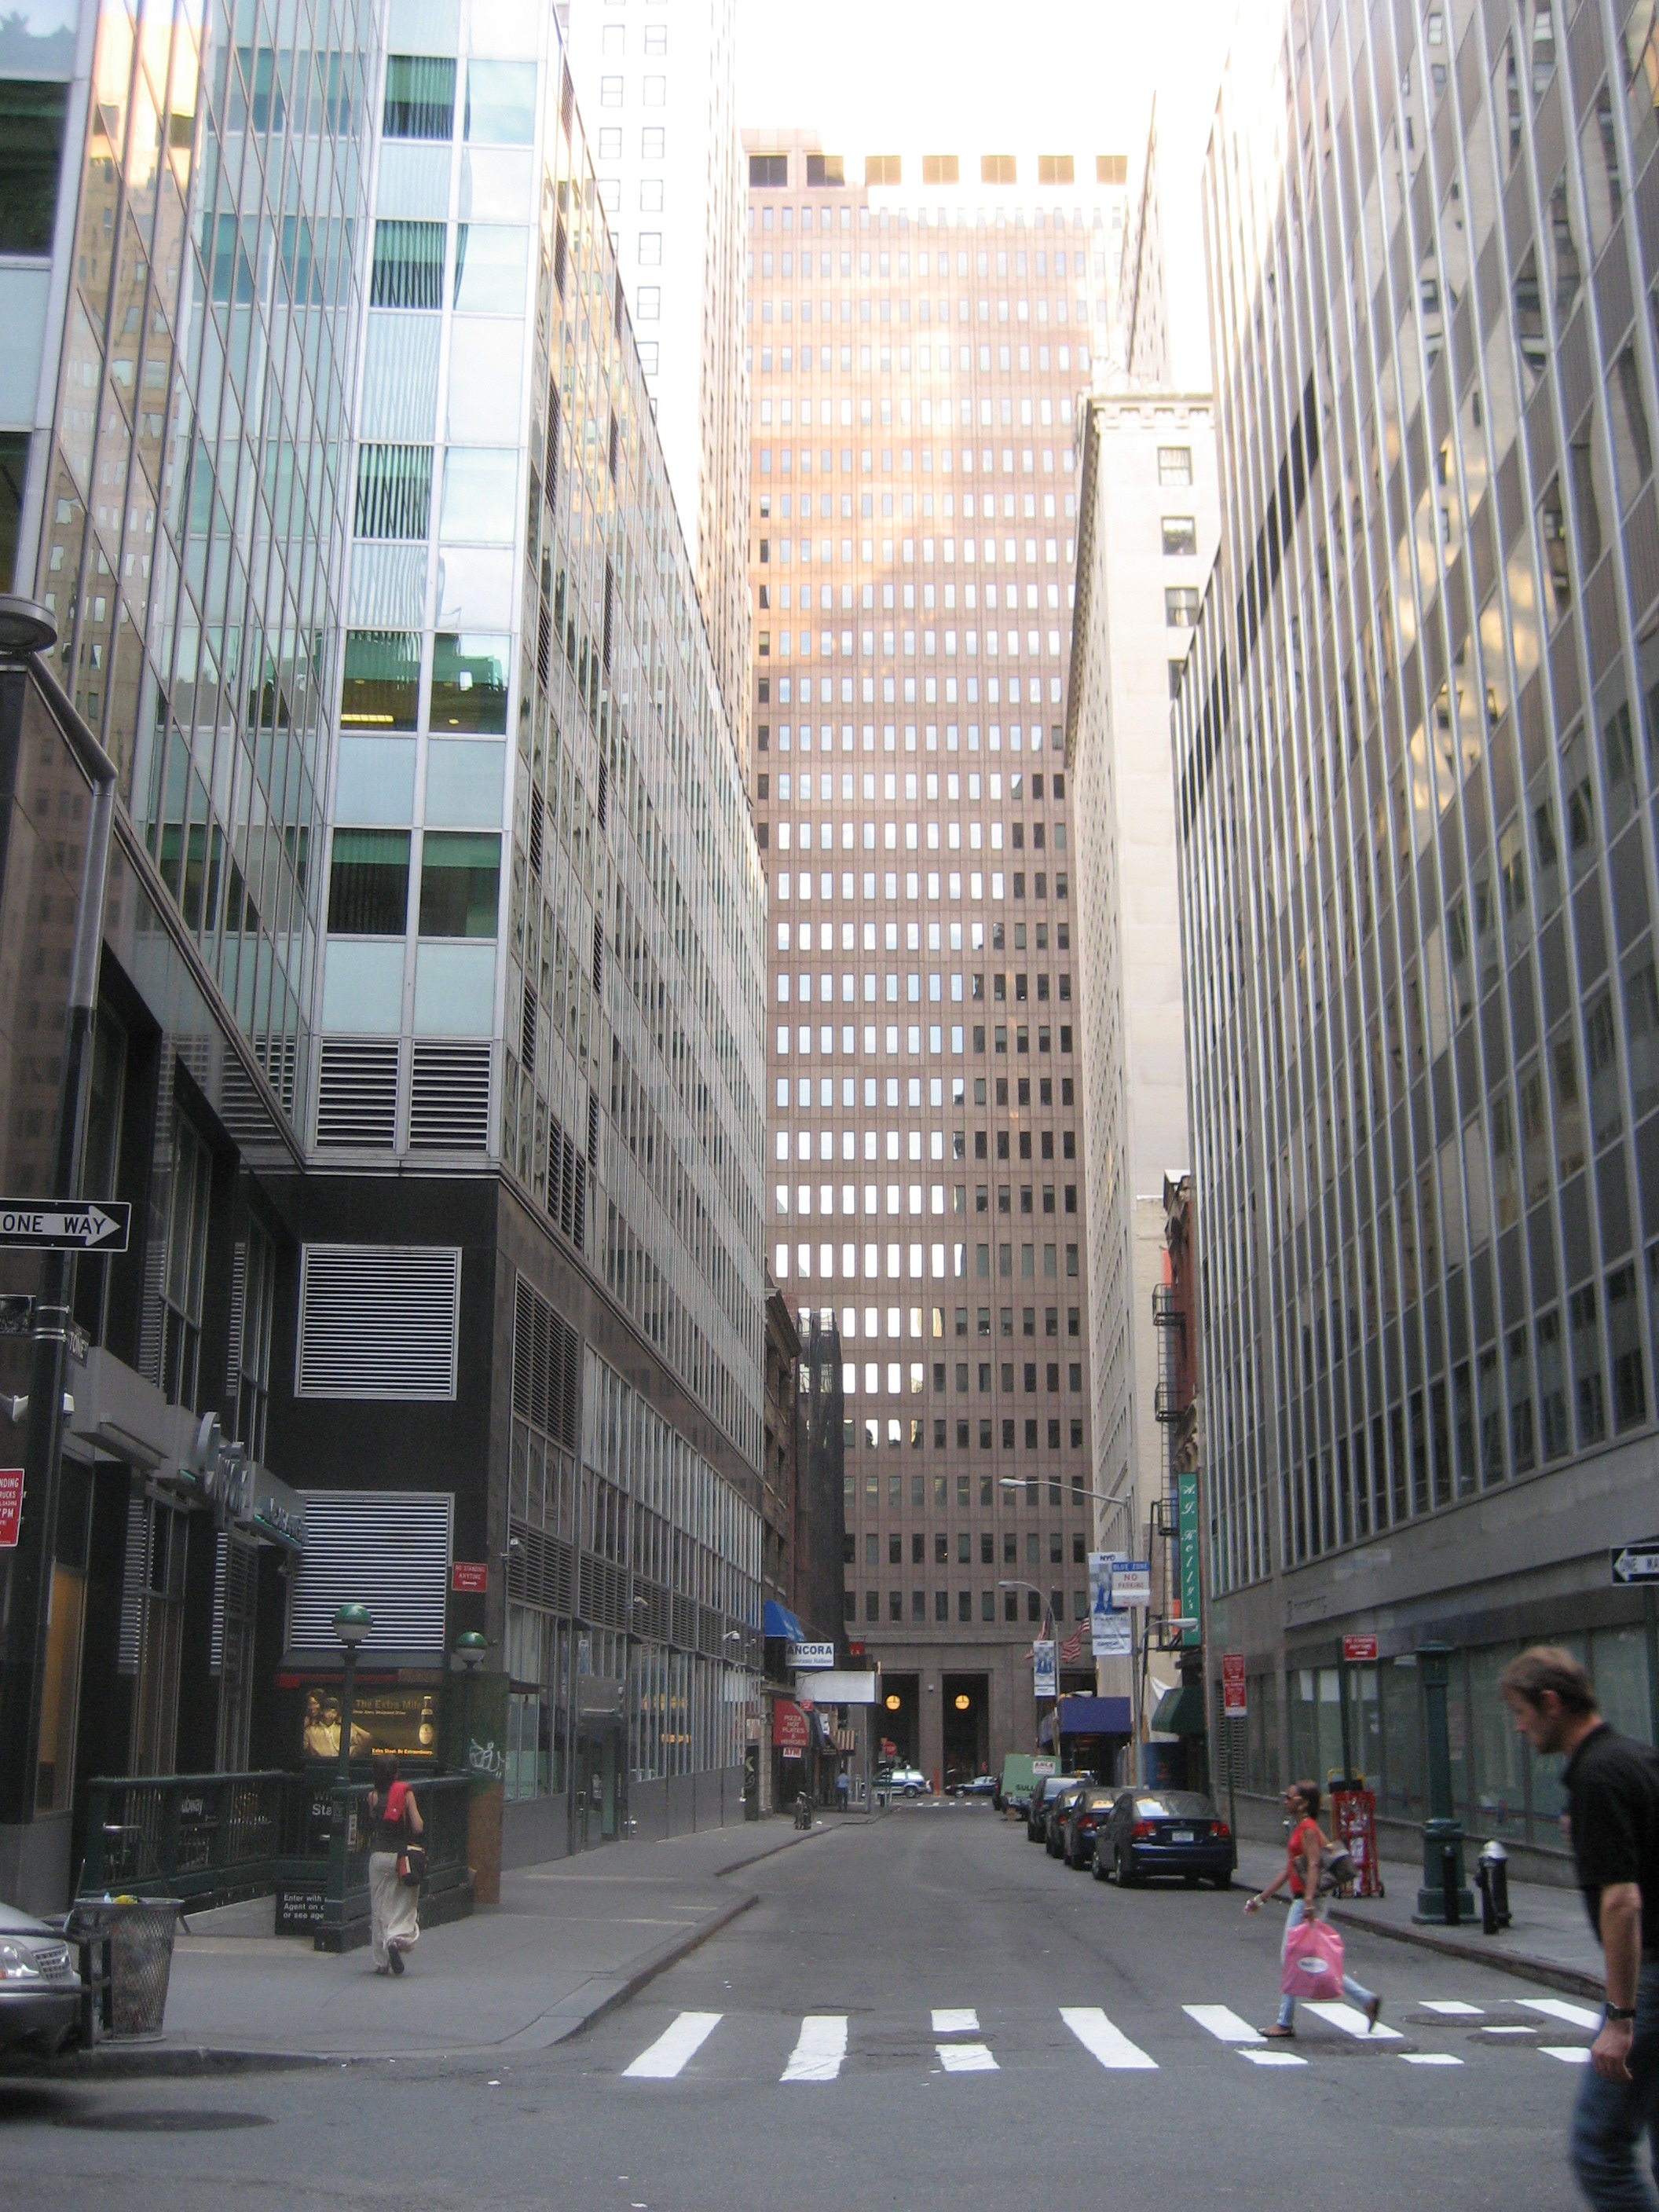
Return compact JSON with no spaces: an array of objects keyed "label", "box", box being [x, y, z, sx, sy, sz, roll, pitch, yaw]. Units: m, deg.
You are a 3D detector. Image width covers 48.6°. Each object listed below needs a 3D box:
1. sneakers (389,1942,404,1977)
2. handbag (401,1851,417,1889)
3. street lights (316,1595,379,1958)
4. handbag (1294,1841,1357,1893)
[{"label":"sneakers","box":[-3.633,7.264,15.404,0.135,0.231,0.381,3,-19,-13]},{"label":"handbag","box":[-3.492,6.417,15.259,0.129,0.301,0.520,2,-20,-12]},{"label":"street lights","box":[-4.933,6.859,18.961,0.439,3.262,0.524,0,-1,17]},{"label":"handbag","box":[3.422,5.328,12.782,0.405,0.472,1.253,-5,-20,14]}]
